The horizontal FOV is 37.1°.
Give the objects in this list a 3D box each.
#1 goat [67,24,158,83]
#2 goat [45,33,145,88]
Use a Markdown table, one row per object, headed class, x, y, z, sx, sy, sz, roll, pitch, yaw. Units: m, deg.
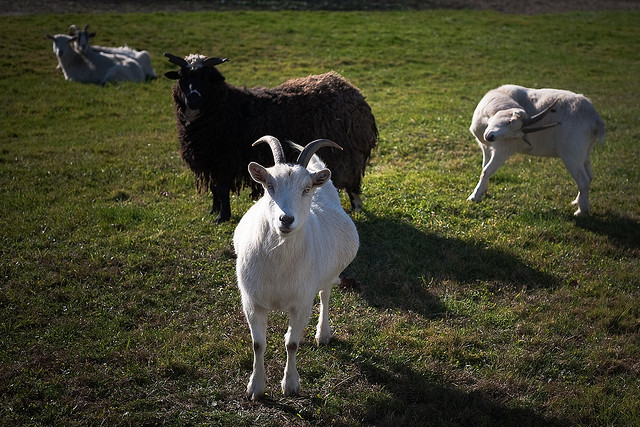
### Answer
| class | x | y | z | sx | sy | sz | roll | pitch | yaw |
| --- | --- | --- | --- | --- | --- | --- | --- | --- | --- |
| goat | -7.556 | -5.465 | 32.471 | 3.889 | 2.370 | 1.382 | 8 | 8 | -12 |
| goat | -7.387 | -5.105 | 31.541 | 2.599 | 1.677 | 0.932 | -7 | 26 | -18 |
